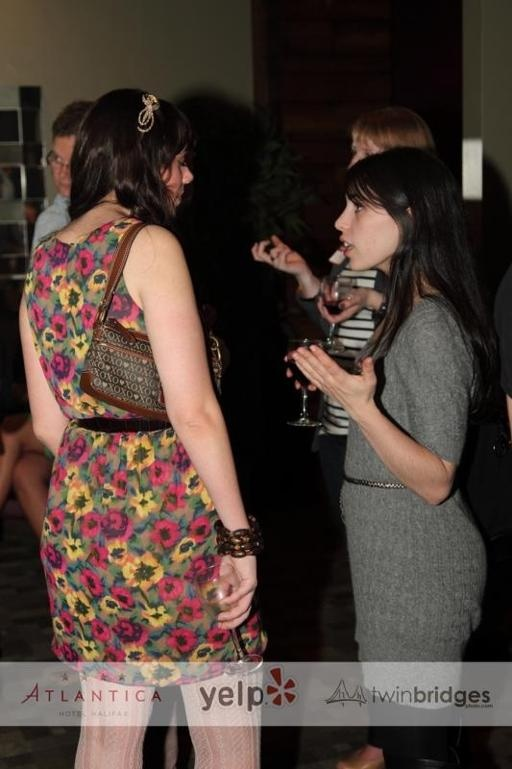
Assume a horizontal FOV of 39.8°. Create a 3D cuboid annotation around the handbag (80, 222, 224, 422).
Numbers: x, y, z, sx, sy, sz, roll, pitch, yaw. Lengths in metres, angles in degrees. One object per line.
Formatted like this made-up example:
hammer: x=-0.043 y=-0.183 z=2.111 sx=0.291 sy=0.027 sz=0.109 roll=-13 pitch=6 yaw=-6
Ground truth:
handbag: x=-0.160 y=-0.090 z=1.142 sx=0.262 sy=0.319 sz=0.187 roll=-4 pitch=8 yaw=-21
